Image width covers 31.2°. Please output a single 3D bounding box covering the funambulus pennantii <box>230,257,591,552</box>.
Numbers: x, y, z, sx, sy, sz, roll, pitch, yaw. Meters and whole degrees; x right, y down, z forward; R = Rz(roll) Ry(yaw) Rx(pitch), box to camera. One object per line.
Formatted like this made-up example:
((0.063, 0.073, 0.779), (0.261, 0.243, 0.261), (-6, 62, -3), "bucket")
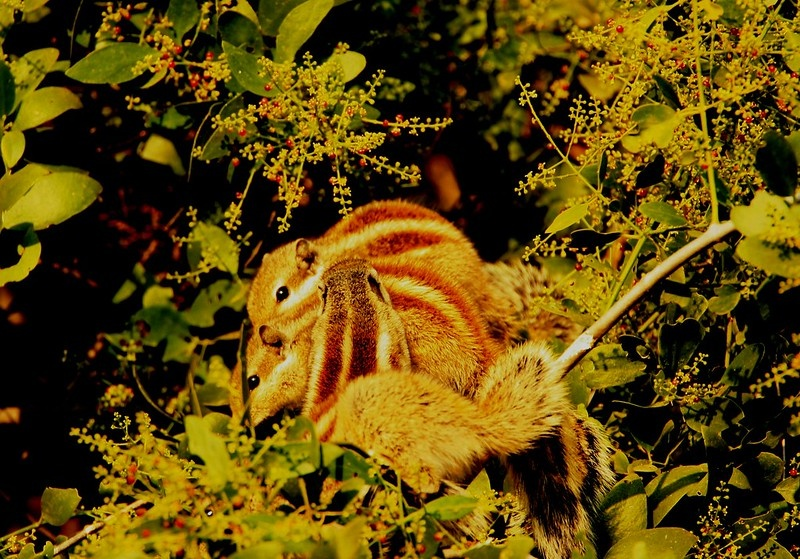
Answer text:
((0.015, 0.260, 2.759), (0.509, 0.268, 0.160), (39, 45, 21), "funambulus pennantii")
